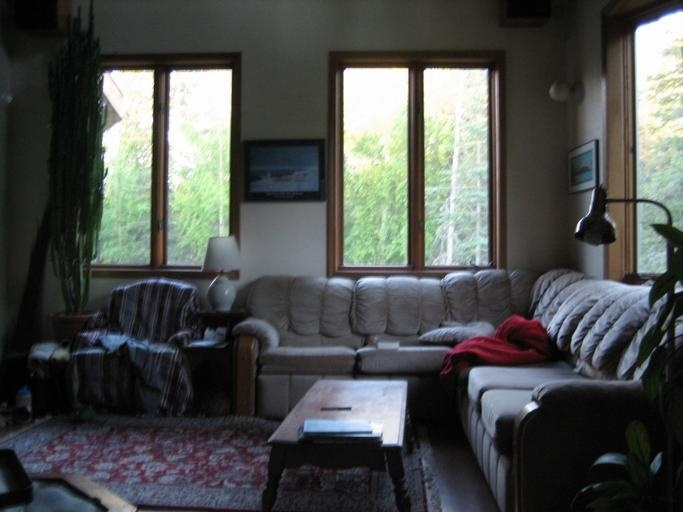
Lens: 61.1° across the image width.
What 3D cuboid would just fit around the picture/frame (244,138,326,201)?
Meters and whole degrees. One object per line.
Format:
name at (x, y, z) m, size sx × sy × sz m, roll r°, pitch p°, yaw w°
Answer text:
picture/frame at (-0.516, -0.829, 5.571) m, size 0.519 × 0.438 × 0.056 m, roll 1°, pitch -2°, yaw 1°

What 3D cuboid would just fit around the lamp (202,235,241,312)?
lamp at (-1.104, 0.142, 5.327) m, size 0.323 × 0.651 × 0.524 m, roll -2°, pitch 10°, yaw -12°

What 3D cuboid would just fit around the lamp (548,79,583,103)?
lamp at (2.049, -1.529, 5.355) m, size 0.233 × 0.206 × 0.352 m, roll 0°, pitch 10°, yaw 1°

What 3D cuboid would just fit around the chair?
chair at (-1.800, 0.751, 5.003) m, size 0.984 × 1.054 × 0.940 m, roll 1°, pitch 1°, yaw -12°

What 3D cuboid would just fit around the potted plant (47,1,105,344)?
potted plant at (-2.419, -0.845, 5.267) m, size 0.527 × 2.680 × 0.520 m, roll -4°, pitch 10°, yaw -23°

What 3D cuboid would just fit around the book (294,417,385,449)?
book at (-0.007, 0.966, 3.182) m, size 0.461 × 0.071 × 0.155 m, roll 0°, pitch 10°, yaw 2°
